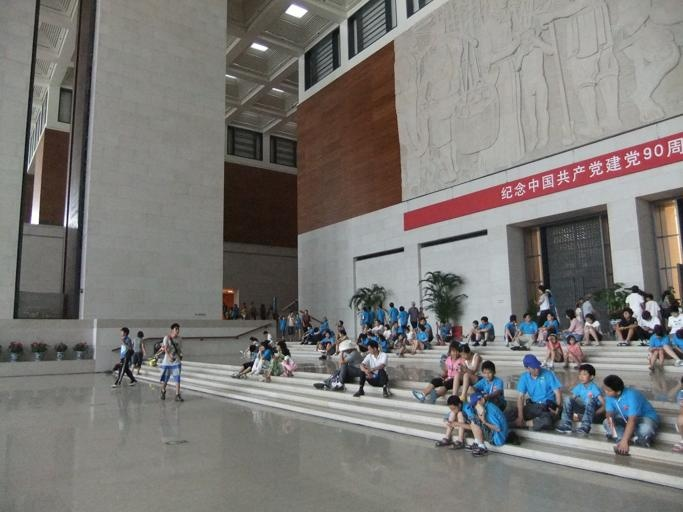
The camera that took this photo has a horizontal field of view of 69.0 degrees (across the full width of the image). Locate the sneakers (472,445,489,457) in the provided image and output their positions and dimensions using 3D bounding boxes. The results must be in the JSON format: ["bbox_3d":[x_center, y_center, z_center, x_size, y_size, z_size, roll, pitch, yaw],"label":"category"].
[{"bbox_3d":[1.737,2.455,6.196,0.222,0.104,0.081,12,-16,-33],"label":"sneakers"}]

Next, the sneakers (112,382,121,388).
[{"bbox_3d":[-5.370,3.066,11.842,0.161,0.115,0.370,3,-7,-26],"label":"sneakers"}]

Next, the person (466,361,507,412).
[{"bbox_3d":[1.941,1.860,6.790,0.792,0.820,0.409,6,-7,-43],"label":"person"}]

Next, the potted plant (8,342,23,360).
[{"bbox_3d":[-9.682,2.832,14.783,0.379,0.571,0.439,4,-7,-34],"label":"potted plant"}]

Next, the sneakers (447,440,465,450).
[{"bbox_3d":[1.484,2.442,6.409,0.204,0.088,0.086,3,-6,-6],"label":"sneakers"}]

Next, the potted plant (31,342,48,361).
[{"bbox_3d":[-9.120,2.903,15.164,0.463,0.552,0.477,-2,-3,23],"label":"potted plant"}]

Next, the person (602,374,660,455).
[{"bbox_3d":[3.428,1.835,5.940,0.566,0.791,0.743,-11,-1,5],"label":"person"}]

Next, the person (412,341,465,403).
[{"bbox_3d":[1.614,1.822,7.869,0.457,0.762,1.048,6,10,43],"label":"person"}]

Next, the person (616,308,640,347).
[{"bbox_3d":[6.326,1.567,10.995,0.439,0.806,0.790,-3,-7,30],"label":"person"}]

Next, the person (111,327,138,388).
[{"bbox_3d":[-5.299,2.447,12.074,0.501,1.412,0.564,-6,-7,21],"label":"person"}]

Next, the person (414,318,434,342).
[{"bbox_3d":[2.519,2.207,14.760,0.607,0.890,0.550,4,-18,-8],"label":"person"}]

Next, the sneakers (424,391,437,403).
[{"bbox_3d":[1.434,2.242,7.881,0.098,0.230,0.093,11,10,40],"label":"sneakers"}]

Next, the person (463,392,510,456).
[{"bbox_3d":[1.859,2.150,6.424,0.526,0.780,0.408,-4,-17,2],"label":"person"}]

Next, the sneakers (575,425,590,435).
[{"bbox_3d":[3.087,2.208,6.317,0.171,0.108,0.161,-3,-7,27],"label":"sneakers"}]

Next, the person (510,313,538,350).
[{"bbox_3d":[4.573,1.855,12.373,0.612,0.823,1.304,-2,-6,22],"label":"person"}]

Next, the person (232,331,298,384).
[{"bbox_3d":[-1.656,2.385,11.221,1.224,0.715,0.875,-2,-10,4],"label":"person"}]

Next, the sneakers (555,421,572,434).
[{"bbox_3d":[2.887,2.179,6.408,0.203,0.181,0.222,-2,-6,23],"label":"sneakers"}]

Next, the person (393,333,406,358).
[{"bbox_3d":[1.752,2.578,14.455,0.330,0.598,1.115,0,-6,6],"label":"person"}]

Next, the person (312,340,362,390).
[{"bbox_3d":[-0.259,2.171,9.678,1.128,1.218,0.569,-2,-10,-10],"label":"person"}]

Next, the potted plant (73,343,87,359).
[{"bbox_3d":[-8.217,3.014,15.681,0.439,0.472,0.446,6,-9,-19],"label":"potted plant"}]

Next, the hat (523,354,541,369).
[{"bbox_3d":[2.623,1.463,6.840,0.231,0.136,0.177,5,8,35],"label":"hat"}]

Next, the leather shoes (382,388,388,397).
[{"bbox_3d":[0.762,2.335,8.531,0.073,0.162,0.222,0,-6,0],"label":"leather shoes"}]

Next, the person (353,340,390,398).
[{"bbox_3d":[0.563,1.975,8.768,0.666,0.971,0.522,-1,-6,13],"label":"person"}]

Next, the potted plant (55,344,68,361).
[{"bbox_3d":[-8.736,2.972,15.469,0.337,0.502,0.379,4,-7,-32],"label":"potted plant"}]

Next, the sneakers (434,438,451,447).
[{"bbox_3d":[1.353,2.458,6.550,0.227,0.096,0.084,2,-7,-14],"label":"sneakers"}]

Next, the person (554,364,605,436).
[{"bbox_3d":[3.090,1.843,6.485,0.572,0.866,0.370,0,-6,7],"label":"person"}]

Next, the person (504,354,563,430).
[{"bbox_3d":[2.624,1.803,6.733,0.591,0.941,0.756,2,-9,-35],"label":"person"}]

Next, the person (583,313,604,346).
[{"bbox_3d":[5.898,1.712,11.642,0.356,0.682,0.794,-3,-7,27],"label":"person"}]

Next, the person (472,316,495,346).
[{"bbox_3d":[3.833,2.055,13.582,0.637,0.762,0.864,-2,-6,22],"label":"person"}]

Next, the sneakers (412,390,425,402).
[{"bbox_3d":[1.232,2.231,7.891,0.099,0.094,0.239,-6,4,-21],"label":"sneakers"}]
